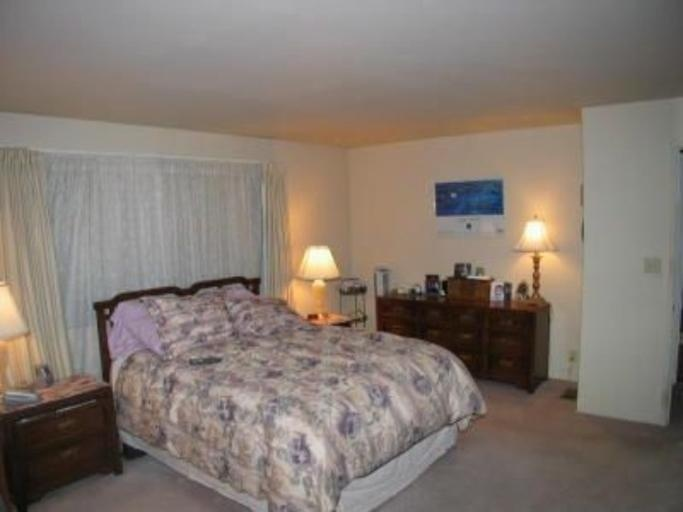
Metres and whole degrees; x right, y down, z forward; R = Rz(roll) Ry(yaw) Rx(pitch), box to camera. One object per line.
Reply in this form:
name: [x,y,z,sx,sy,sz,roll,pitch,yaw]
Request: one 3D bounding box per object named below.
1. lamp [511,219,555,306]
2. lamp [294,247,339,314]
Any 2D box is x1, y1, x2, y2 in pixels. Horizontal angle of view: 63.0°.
lamp: [2.145,0.029,6.179,0.426,0.886,0.449,3,13,20]
lamp: [-0.268,0.283,6.611,0.492,0.863,0.514,3,11,20]
